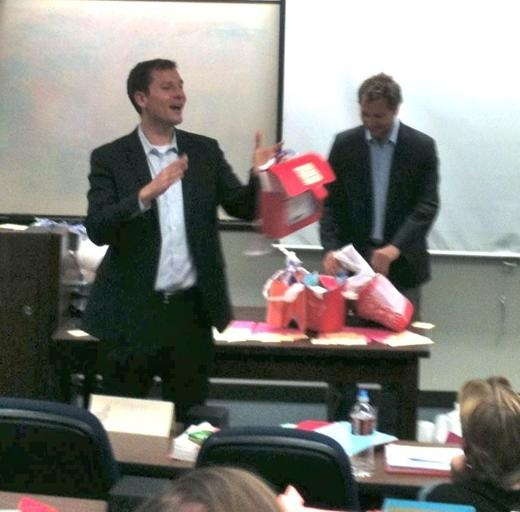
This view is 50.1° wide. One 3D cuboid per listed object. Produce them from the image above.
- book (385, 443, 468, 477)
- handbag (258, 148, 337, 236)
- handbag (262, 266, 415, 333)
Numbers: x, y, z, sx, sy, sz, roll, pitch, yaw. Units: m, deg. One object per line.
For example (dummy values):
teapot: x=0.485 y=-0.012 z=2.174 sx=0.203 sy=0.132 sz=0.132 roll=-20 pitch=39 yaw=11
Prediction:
book: x=0.368 y=0.458 z=1.247 sx=0.142 sy=0.031 sz=0.132 roll=1 pitch=5 yaw=3
handbag: x=0.070 y=-0.188 z=1.464 sx=0.189 sy=0.201 sz=0.208 roll=-30 pitch=46 yaw=-34
handbag: x=0.230 y=0.108 z=1.701 sx=0.348 sy=0.132 sz=0.225 roll=5 pitch=0 yaw=8
